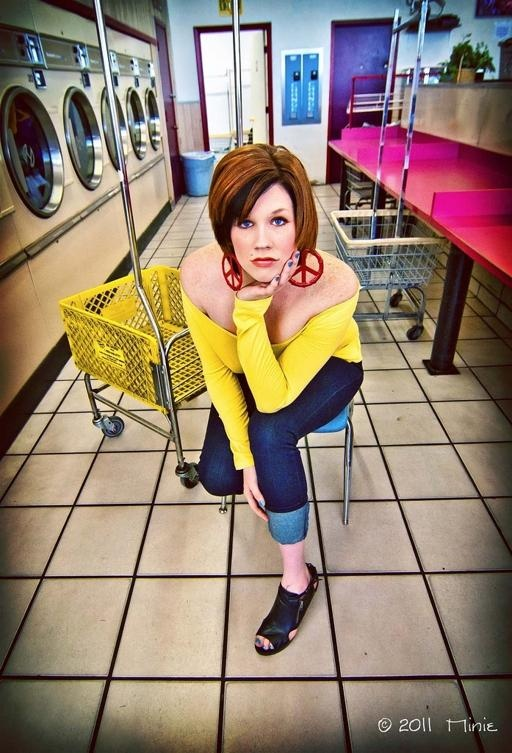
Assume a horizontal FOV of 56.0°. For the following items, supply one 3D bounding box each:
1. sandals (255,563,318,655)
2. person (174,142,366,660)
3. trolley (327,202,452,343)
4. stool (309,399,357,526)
[{"bbox_3d":[0.080,0.590,1.311,0.084,0.103,0.258,17,66,41],"label":"sandals"},{"bbox_3d":[-0.015,0.076,1.211,0.433,1.185,0.490,16,35,27],"label":"person"},{"bbox_3d":[0.682,-0.617,3.079,0.790,0.610,0.492,4,-11,45],"label":"trolley"},{"bbox_3d":[0.215,0.177,1.413,0.140,0.226,0.148,-6,9,-9],"label":"stool"}]
